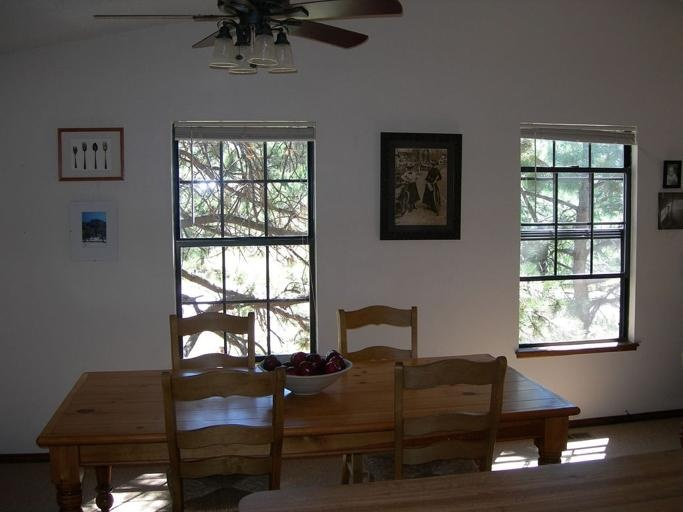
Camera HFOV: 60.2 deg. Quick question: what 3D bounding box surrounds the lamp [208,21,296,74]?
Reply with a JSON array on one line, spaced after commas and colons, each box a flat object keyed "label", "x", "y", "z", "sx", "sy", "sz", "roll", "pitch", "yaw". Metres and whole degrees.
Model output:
[{"label": "lamp", "x": -0.410, "y": -0.917, "z": 2.775, "sx": 0.291, "sy": 0.170, "sz": 0.296, "roll": 2, "pitch": 4, "yaw": 40}]

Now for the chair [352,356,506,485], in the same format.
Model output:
[{"label": "chair", "x": 0.460, "y": 0.648, "z": 2.878, "sx": 0.490, "sy": 0.993, "sz": 0.495, "roll": 0, "pitch": 1, "yaw": -8}]

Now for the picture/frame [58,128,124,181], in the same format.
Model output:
[{"label": "picture/frame", "x": -1.764, "y": -0.715, "z": 4.156, "sx": 0.450, "sy": 0.363, "sz": 0.028, "roll": -1, "pitch": 4, "yaw": -4}]

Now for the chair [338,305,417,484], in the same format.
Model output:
[{"label": "chair", "x": 0.249, "y": 0.766, "z": 3.584, "sx": 0.488, "sy": 1.029, "sz": 0.497, "roll": 0, "pitch": 0, "yaw": -8}]

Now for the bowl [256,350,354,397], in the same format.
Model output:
[{"label": "bowl", "x": -0.220, "y": 0.570, "z": 3.198, "sx": 0.444, "sy": 0.217, "sz": 0.483, "roll": 7, "pitch": 4, "yaw": -1}]
